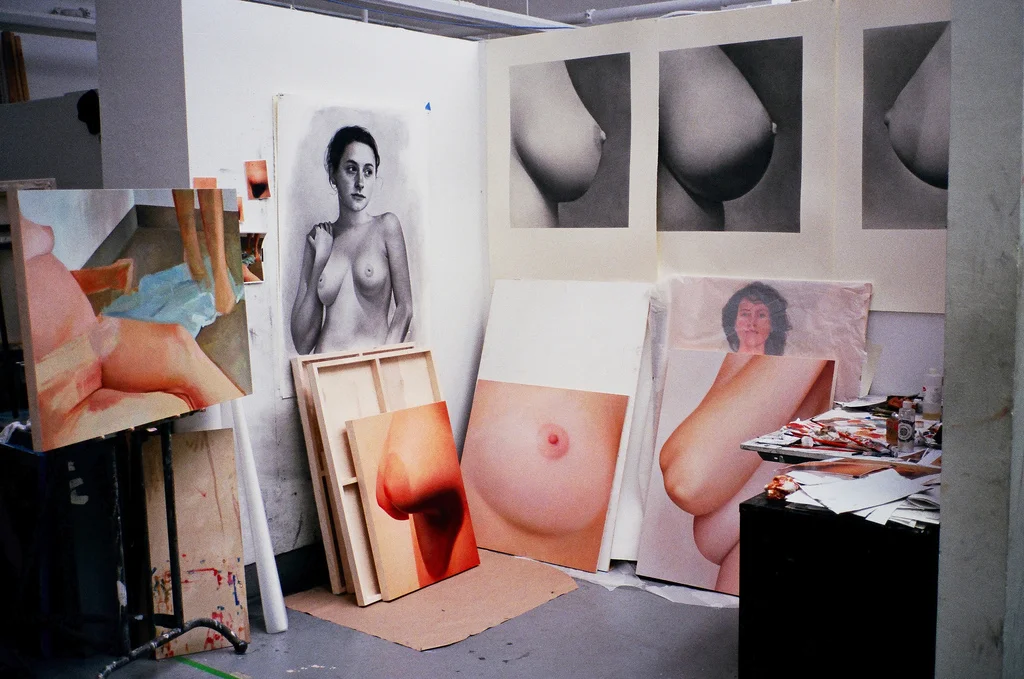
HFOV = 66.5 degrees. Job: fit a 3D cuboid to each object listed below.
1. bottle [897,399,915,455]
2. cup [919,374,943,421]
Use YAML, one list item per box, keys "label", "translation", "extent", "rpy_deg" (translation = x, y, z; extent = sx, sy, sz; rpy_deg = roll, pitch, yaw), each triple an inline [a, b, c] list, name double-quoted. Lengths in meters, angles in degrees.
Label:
- label: "bottle"
  translation: [1.778, 0.389, 3.520]
  extent: [0.078, 0.211, 0.113]
  rpy_deg: [6, 16, 26]
- label: "cup"
  translation: [2.125, 0.273, 3.953]
  extent: [0.082, 0.189, 0.270]
  rpy_deg: [6, 16, 26]
